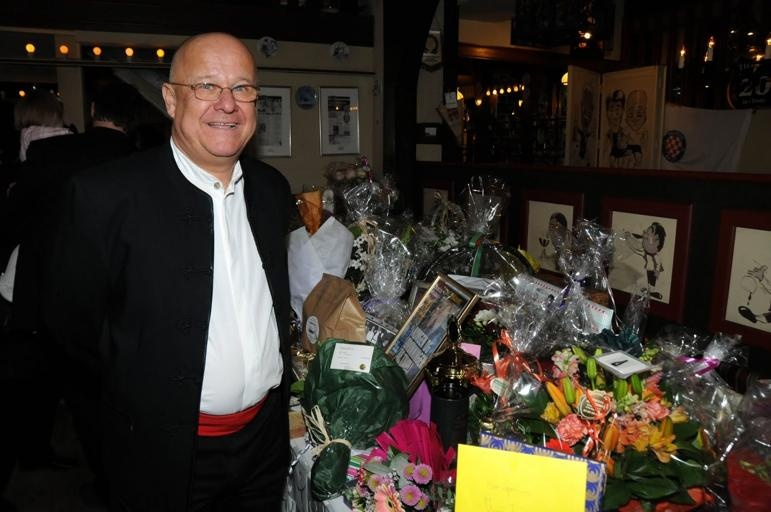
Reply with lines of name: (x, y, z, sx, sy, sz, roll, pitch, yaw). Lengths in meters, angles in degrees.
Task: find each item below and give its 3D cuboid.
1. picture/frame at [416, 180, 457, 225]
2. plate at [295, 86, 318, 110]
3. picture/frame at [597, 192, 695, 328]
picture/frame: (0.443, -0.481, 4.277, 0.065, 0.473, 0.613, -1, -1, -26)
plate: (-0.964, -1.912, 6.002, 0.269, 0.290, 0.051, -8, 14, -30)
picture/frame: (1.589, 0.007, 3.119, 0.130, 0.709, 0.587, -9, 16, -36)
